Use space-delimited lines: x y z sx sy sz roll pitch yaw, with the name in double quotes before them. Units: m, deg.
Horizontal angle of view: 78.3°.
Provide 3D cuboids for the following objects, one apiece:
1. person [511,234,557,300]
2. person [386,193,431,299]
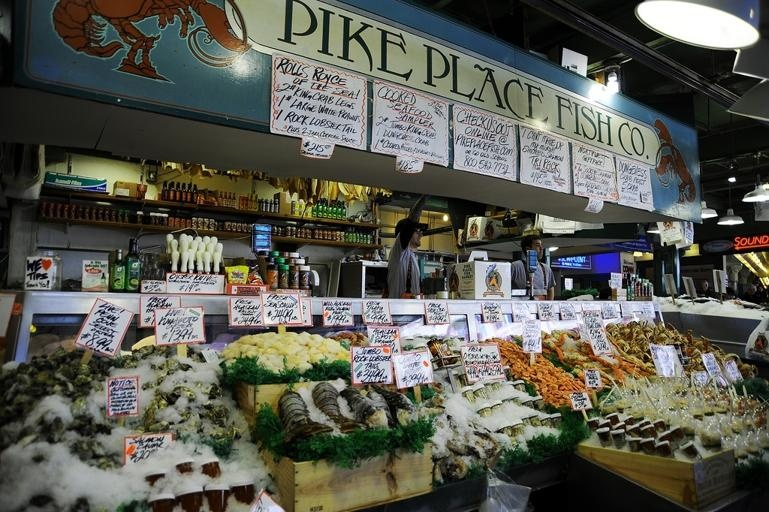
"person" 1.871 0.152 5.994 0.509 0.855 1.964 -3 -9 19
"person" 0.235 -0.023 5.001 0.386 0.937 0.771 0 -9 0
